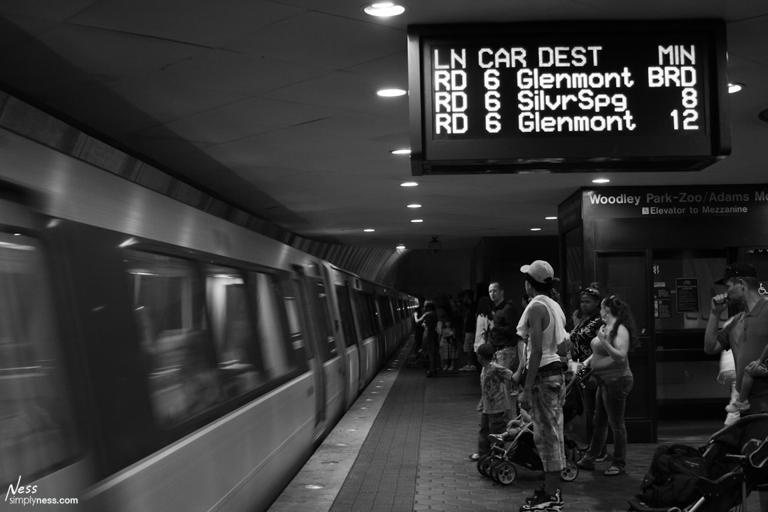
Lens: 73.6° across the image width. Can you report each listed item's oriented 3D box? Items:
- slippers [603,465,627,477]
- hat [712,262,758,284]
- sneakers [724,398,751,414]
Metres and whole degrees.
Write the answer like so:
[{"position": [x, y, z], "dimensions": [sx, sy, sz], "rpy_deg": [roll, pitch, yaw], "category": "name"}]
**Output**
[{"position": [3.398, 3.144, 7.504], "dimensions": [0.322, 0.109, 0.154], "rpy_deg": [3, -7, -20], "category": "slippers"}, {"position": [4.682, 0.225, 6.801], "dimensions": [0.717, 0.334, 0.461], "rpy_deg": [-1, -3, 27], "category": "hat"}, {"position": [3.544, 1.504, 5.122], "dimensions": [0.240, 0.089, 0.129], "rpy_deg": [-3, 1, 5], "category": "sneakers"}]
